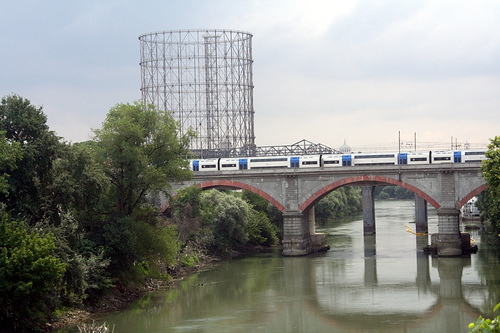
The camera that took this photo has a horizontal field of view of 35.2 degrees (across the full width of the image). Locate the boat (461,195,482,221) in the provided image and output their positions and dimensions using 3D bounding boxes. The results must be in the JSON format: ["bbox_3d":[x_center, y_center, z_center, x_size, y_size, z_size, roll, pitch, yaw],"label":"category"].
[{"bbox_3d":[53.896,9.757,191.029,4.027,5.881,14.127,1,6,15],"label":"boat"}]

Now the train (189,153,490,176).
[{"bbox_3d":[15.334,-0.414,131.105,45.865,3.641,4.957,0,6,11],"label":"train"}]

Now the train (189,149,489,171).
[{"bbox_3d":[15.491,-0.846,129.035,51.297,3.749,3.773,-1,-6,7],"label":"train"}]
